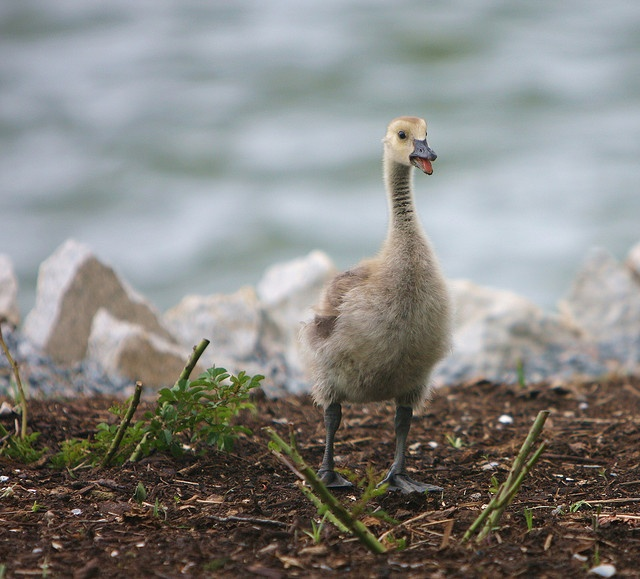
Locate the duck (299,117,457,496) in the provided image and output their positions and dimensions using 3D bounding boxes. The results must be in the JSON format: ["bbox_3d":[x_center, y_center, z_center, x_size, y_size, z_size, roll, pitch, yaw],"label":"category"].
[{"bbox_3d":[0.377,0.119,6.526,0.939,2.196,1.241,1,13,10],"label":"duck"}]
